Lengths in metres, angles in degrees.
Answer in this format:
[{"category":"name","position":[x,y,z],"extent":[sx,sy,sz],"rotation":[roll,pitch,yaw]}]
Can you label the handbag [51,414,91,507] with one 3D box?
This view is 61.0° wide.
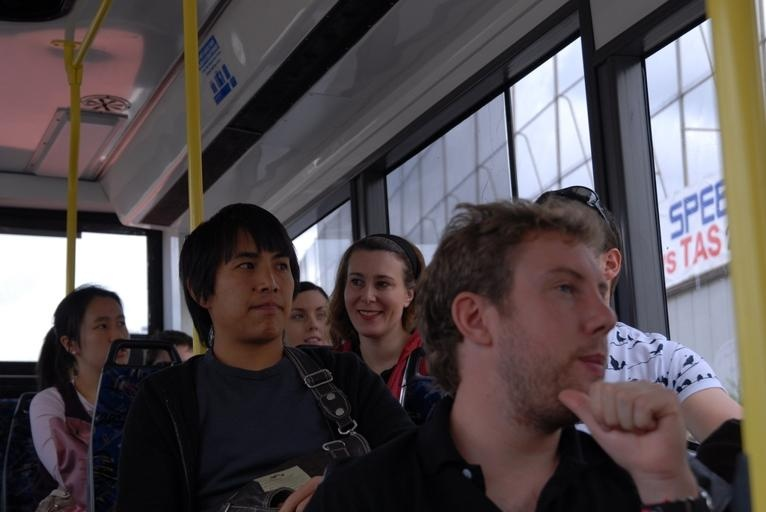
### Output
[{"category":"handbag","position":[-1.626,1.043,3.366],"extent":[0.373,0.434,0.161],"rotation":[-4,-6,36]}]
